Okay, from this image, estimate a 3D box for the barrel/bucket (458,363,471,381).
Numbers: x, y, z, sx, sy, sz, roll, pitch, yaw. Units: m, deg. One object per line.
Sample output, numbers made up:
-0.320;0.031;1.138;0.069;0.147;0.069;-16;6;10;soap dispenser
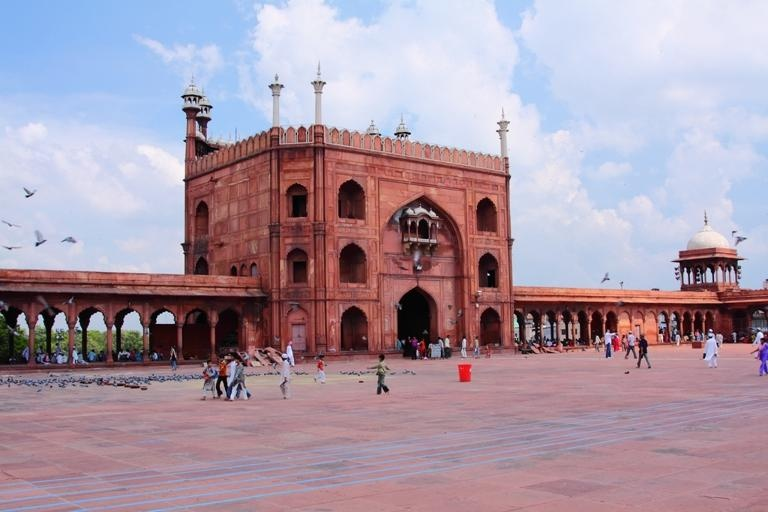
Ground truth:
2.264;3.270;26.196;0.324;0.470;0.686;-1;-2;3;barrel/bucket
